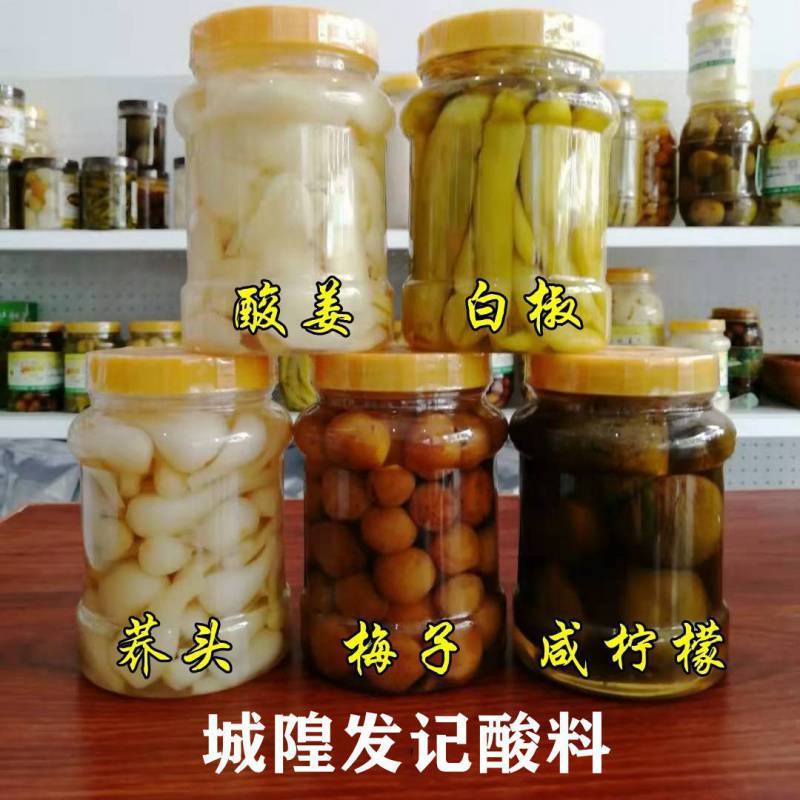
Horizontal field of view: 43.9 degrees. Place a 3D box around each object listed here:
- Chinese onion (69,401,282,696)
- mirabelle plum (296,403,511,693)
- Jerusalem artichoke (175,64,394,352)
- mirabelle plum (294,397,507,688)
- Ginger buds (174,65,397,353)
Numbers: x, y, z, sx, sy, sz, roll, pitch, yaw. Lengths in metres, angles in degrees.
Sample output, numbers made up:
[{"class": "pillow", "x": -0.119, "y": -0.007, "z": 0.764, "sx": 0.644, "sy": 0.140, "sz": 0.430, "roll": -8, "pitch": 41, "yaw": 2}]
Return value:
[{"class": "Chinese onion", "x": -0.186, "y": 0.094, "z": 0.845, "sx": 0.177, "sy": 0.275, "sz": 0.175, "roll": -7, "pitch": 12, "yaw": -42}, {"class": "mirabelle plum", "x": -0.002, "y": 0.092, "z": 0.842, "sx": 0.168, "sy": 0.267, "sz": 0.175, "roll": -4, "pitch": 9, "yaw": -20}, {"class": "Jerusalem artichoke", "x": -0.086, "y": -0.161, "z": 0.888, "sx": 0.198, "sy": 0.242, "sz": 0.207, "roll": -2, "pitch": 6, "yaw": -12}, {"class": "mirabelle plum", "x": 0.016, "y": 0.099, "z": 0.864, "sx": 0.183, "sy": 0.215, "sz": 0.157, "roll": 16, "pitch": 11, "yaw": 31}, {"class": "Ginger buds", "x": -0.083, "y": -0.159, "z": 0.886, "sx": 0.198, "sy": 0.243, "sz": 0.208, "roll": -1, "pitch": 6, "yaw": -9}]
